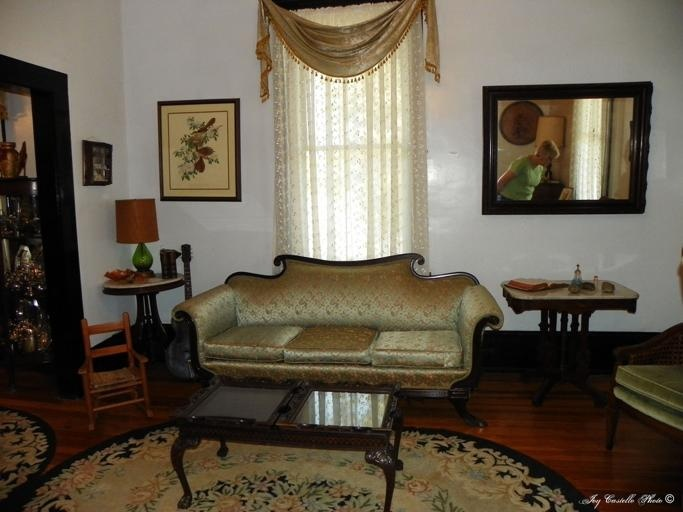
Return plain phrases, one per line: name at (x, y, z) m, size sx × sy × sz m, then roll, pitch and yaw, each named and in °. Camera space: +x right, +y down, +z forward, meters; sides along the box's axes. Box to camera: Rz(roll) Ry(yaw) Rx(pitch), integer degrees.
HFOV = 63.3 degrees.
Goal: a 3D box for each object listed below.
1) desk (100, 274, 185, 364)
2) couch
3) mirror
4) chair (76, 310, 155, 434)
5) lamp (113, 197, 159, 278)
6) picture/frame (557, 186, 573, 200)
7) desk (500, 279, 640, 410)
desk at (-2.015, 0.617, 6.078) m, size 0.868 × 0.965 × 0.877 m, roll -3°, pitch 12°, yaw -14°
couch at (-0.030, 0.744, 5.325) m, size 3.028 × 1.387 × 1.045 m, roll 0°, pitch 8°, yaw 17°
mirror at (2.299, -1.122, 5.526) m, size 1.308 × 1.082 × 0.096 m, roll 0°, pitch 8°, yaw 6°
chair at (-1.994, 1.026, 4.945) m, size 0.573 × 0.858 × 0.664 m, roll -4°, pitch 10°, yaw -7°
lamp at (-2.145, -0.204, 5.778) m, size 0.448 × 0.765 × 0.338 m, roll -2°, pitch 8°, yaw -7°
picture/frame at (2.250, -0.630, 5.581) m, size 0.120 × 0.115 × 0.032 m, roll 12°, pitch 2°, yaw 38°
desk at (2.158, 0.816, 5.430) m, size 1.293 × 1.096 × 1.225 m, roll -2°, pitch 6°, yaw -9°
